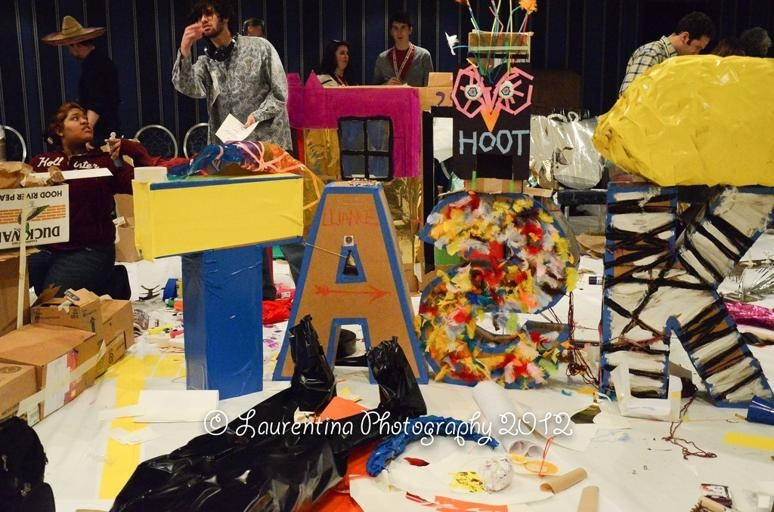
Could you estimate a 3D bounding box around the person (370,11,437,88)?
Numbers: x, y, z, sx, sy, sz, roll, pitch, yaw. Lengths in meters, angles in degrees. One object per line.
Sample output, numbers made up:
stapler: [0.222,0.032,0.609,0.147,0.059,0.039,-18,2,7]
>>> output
person: [0.130,-1.739,6.180,0.581,0.846,0.439,-2,3,7]

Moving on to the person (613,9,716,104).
person: [2.007,-1.497,4.955,0.727,0.441,0.286,-7,15,-20]

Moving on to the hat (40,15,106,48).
hat: [-2.817,-1.974,6.173,0.437,0.169,0.410,-15,36,-17]
